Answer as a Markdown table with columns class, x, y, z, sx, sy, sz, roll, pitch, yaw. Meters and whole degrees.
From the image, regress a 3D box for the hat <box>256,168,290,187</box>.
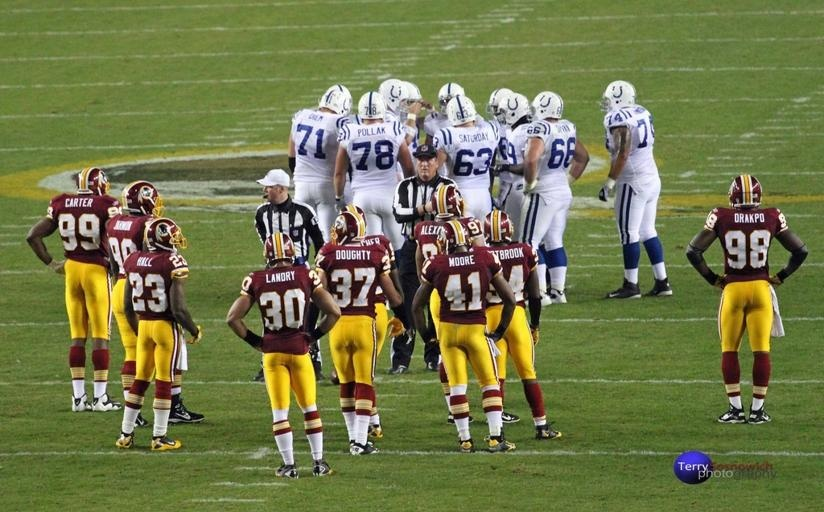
| class | x | y | z | sx | sy | sz | roll | pitch | yaw |
| --- | --- | --- | --- | --- | --- | --- | --- | --- | --- |
| hat | -2.054 | -1.160 | 24.926 | 0.475 | 0.193 | 0.297 | 1 | 10 | -1 |

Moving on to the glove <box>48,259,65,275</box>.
| class | x | y | z | sx | sy | sz | roll | pitch | yaw |
| --- | --- | --- | --- | --- | --- | --- | --- | --- | --- |
| glove | -5.414 | 0.166 | 25.668 | 0.268 | 0.237 | 0.301 | 0 | -18 | -17 |

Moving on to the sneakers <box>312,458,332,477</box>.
| class | x | y | z | sx | sy | sz | roll | pitch | yaw |
| --- | --- | --- | --- | --- | --- | --- | --- | --- | --- |
| sneakers | -1.248 | 2.890 | 23.086 | 0.324 | 0.168 | 0.165 | -2 | 6 | -35 |

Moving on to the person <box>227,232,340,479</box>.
| class | x | y | z | sx | sy | sz | roll | pitch | yaw |
| --- | --- | --- | --- | --- | --- | --- | --- | --- | --- |
| person | -1.707 | 1.345 | 23.077 | 1.408 | 3.314 | 0.467 | -4 | 7 | -3 |

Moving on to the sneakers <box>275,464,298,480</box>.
| class | x | y | z | sx | sy | sz | roll | pitch | yaw |
| --- | --- | --- | --- | --- | --- | --- | --- | --- | --- |
| sneakers | -1.687 | 2.931 | 23.065 | 0.363 | 0.134 | 0.135 | 4 | 4 | 34 |

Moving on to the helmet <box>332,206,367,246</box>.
| class | x | y | z | sx | sy | sz | roll | pitch | yaw |
| --- | --- | --- | --- | --- | --- | --- | --- | --- | --- |
| helmet | -0.666 | -0.431 | 23.502 | 0.590 | 0.471 | 0.464 | 14 | 11 | 43 |

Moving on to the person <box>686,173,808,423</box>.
| class | x | y | z | sx | sy | sz | roll | pitch | yaw |
| --- | --- | --- | --- | --- | --- | --- | --- | --- | --- |
| person | 4.693 | 0.599 | 24.030 | 1.521 | 3.476 | 0.765 | -3 | 7 | 7 |

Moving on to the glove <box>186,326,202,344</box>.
| class | x | y | z | sx | sy | sz | roll | pitch | yaw |
| --- | --- | --- | --- | --- | --- | --- | --- | --- | --- |
| glove | -3.049 | 1.110 | 23.925 | 0.248 | 0.245 | 0.653 | 0 | 9 | -8 |

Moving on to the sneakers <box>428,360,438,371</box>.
| class | x | y | z | sx | sy | sz | roll | pitch | yaw |
| --- | --- | --- | --- | --- | --- | --- | --- | --- | --- |
| sneakers | 0.303 | 1.650 | 25.581 | 0.181 | 0.139 | 0.168 | -1 | -1 | -5 |

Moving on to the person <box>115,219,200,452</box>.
| class | x | y | z | sx | sy | sz | roll | pitch | yaw |
| --- | --- | --- | --- | --- | --- | --- | --- | --- | --- |
| person | -3.584 | 1.090 | 23.592 | 1.176 | 3.230 | 0.517 | -5 | 7 | -6 |

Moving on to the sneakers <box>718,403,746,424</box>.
| class | x | y | z | sx | sy | sz | roll | pitch | yaw |
| --- | --- | --- | --- | --- | --- | --- | --- | --- | --- |
| sneakers | 4.514 | 2.228 | 23.949 | 0.393 | 0.247 | 0.182 | -2 | 6 | 8 |

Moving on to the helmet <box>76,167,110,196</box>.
| class | x | y | z | sx | sy | sz | roll | pitch | yaw |
| --- | --- | --- | --- | --- | --- | --- | --- | --- | --- |
| helmet | -4.672 | -1.109 | 24.773 | 0.399 | 0.333 | 0.461 | 4 | 15 | 12 |

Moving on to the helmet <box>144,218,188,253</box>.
| class | x | y | z | sx | sy | sz | roll | pitch | yaw |
| --- | --- | --- | --- | --- | --- | --- | --- | --- | --- |
| helmet | -3.502 | -0.288 | 23.599 | 0.681 | 0.419 | 0.454 | 1 | 2 | -36 |

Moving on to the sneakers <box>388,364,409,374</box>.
| class | x | y | z | sx | sy | sz | roll | pitch | yaw |
| --- | --- | --- | --- | --- | --- | --- | --- | --- | --- |
| sneakers | -0.202 | 1.693 | 25.429 | 0.197 | 0.080 | 0.236 | 0 | 0 | 12 |

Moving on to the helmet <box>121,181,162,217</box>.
| class | x | y | z | sx | sy | sz | roll | pitch | yaw |
| --- | --- | --- | --- | --- | --- | --- | --- | --- | --- |
| helmet | -3.905 | -0.839 | 24.156 | 0.643 | 0.423 | 0.472 | 0 | 8 | -39 |

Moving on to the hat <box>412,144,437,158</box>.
| class | x | y | z | sx | sy | sz | roll | pitch | yaw |
| --- | --- | --- | --- | --- | --- | --- | --- | --- | --- |
| hat | 0.180 | -1.539 | 25.068 | 0.323 | 0.193 | 0.235 | -3 | 6 | -4 |

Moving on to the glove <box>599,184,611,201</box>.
| class | x | y | z | sx | sy | sz | roll | pitch | yaw |
| --- | --- | --- | --- | --- | --- | --- | --- | --- | --- |
| glove | 3.121 | -1.018 | 27.563 | 0.155 | 0.249 | 0.496 | -3 | 5 | 8 |

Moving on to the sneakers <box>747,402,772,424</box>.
| class | x | y | z | sx | sy | sz | roll | pitch | yaw |
| --- | --- | --- | --- | --- | --- | --- | --- | --- | --- |
| sneakers | 4.885 | 2.252 | 23.907 | 0.460 | 0.231 | 0.167 | -5 | 6 | -34 |

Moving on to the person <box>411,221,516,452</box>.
| class | x | y | z | sx | sy | sz | roll | pitch | yaw |
| --- | --- | --- | --- | --- | --- | --- | --- | --- | --- |
| person | 0.754 | 1.109 | 23.407 | 1.360 | 3.204 | 0.459 | -4 | 7 | 1 |

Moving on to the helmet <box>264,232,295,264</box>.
| class | x | y | z | sx | sy | sz | roll | pitch | yaw |
| --- | --- | --- | --- | --- | --- | --- | --- | --- | --- |
| helmet | -1.834 | -0.099 | 23.292 | 0.507 | 0.432 | 0.578 | -5 | 2 | -6 |

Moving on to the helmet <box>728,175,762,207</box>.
| class | x | y | z | sx | sy | sz | roll | pitch | yaw |
| --- | --- | --- | --- | --- | --- | --- | --- | --- | --- |
| helmet | 4.755 | -0.927 | 24.181 | 0.522 | 0.459 | 0.584 | 0 | 9 | 14 |

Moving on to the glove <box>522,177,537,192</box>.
| class | x | y | z | sx | sy | sz | roll | pitch | yaw |
| --- | --- | --- | --- | --- | --- | --- | --- | --- | --- |
| glove | 1.889 | -1.127 | 27.177 | 0.191 | 0.192 | 0.298 | -2 | 6 | 8 |
